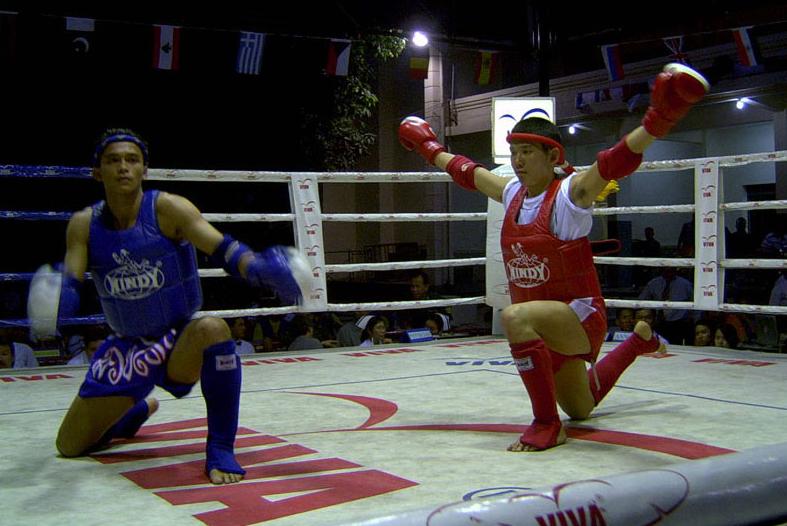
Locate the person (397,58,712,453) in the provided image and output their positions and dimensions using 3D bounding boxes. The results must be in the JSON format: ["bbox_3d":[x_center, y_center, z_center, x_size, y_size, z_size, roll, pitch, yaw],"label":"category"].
[{"bbox_3d":[0.752,-0.008,2.669,0.893,1.577,1.076,-1,1,-5],"label":"person"}]

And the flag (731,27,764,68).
[{"bbox_3d":[5.683,-3.461,8.997,0.306,0.522,0.557,0,1,39],"label":"flag"}]

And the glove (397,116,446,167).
[{"bbox_3d":[0.173,-0.709,3.323,0.253,0.153,0.372,-16,42,-43],"label":"glove"}]

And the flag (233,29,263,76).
[{"bbox_3d":[-1.958,-2.842,7.621,0.398,0.508,0.262,-1,1,-13],"label":"flag"}]

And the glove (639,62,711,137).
[{"bbox_3d":[1.130,-0.661,2.256,0.233,0.308,0.172,-1,1,20],"label":"glove"}]

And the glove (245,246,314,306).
[{"bbox_3d":[-0.380,0.036,1.923,0.281,0.172,0.178,-1,4,18],"label":"glove"}]

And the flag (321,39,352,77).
[{"bbox_3d":[-0.838,-3.039,8.350,0.330,0.509,0.392,-1,1,-9],"label":"flag"}]

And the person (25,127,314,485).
[{"bbox_3d":[-0.895,0.120,2.153,1.011,0.885,0.481,-1,1,0],"label":"person"}]
